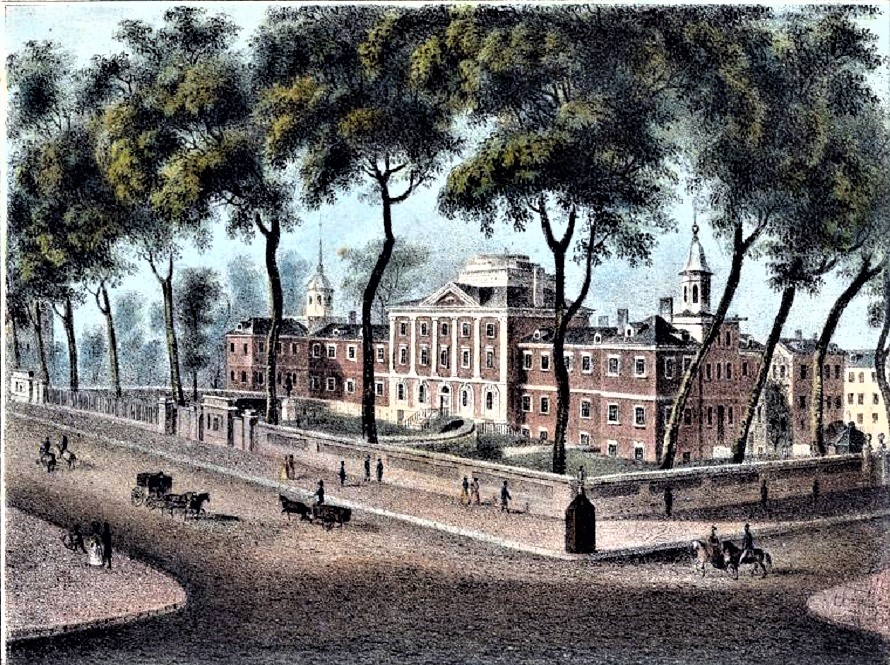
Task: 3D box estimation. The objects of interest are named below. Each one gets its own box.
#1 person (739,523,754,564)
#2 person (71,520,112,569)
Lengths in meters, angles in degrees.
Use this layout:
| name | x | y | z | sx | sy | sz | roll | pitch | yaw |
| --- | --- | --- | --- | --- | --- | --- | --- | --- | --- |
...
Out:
| name | x | y | z | sx | sy | sz | roll | pitch | yaw |
| --- | --- | --- | --- | --- | --- | --- | --- | --- | --- |
| person | 4.964 | 3.453 | 27.807 | 0.242 | 0.671 | 0.710 | 3 | 0 | 11 |
| person | -6.026 | 3.543 | 28.372 | 0.412 | 0.699 | 1.143 | 5 | -1 | -42 |
